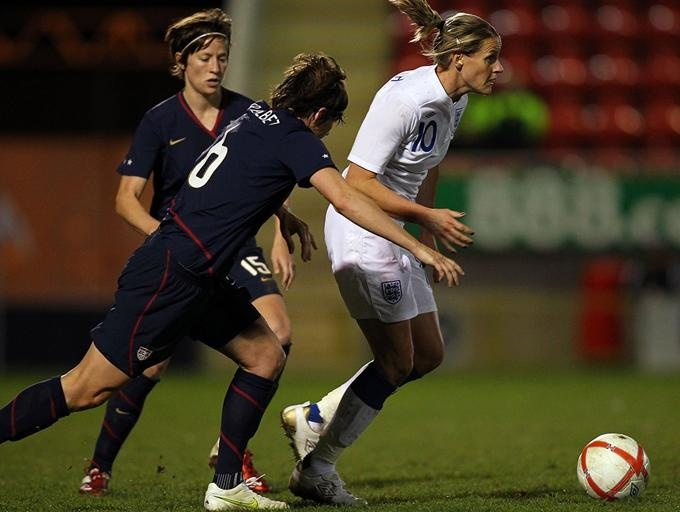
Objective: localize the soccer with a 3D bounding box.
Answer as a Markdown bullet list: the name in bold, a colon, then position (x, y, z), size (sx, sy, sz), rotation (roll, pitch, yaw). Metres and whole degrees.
- **soccer**: position (1.695, 1.295, 5.785), size (0.370, 0.377, 0.370), rotation (15, -10, -25)

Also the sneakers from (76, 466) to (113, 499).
- **sneakers**: position (-1.496, 1.422, 5.914), size (0.117, 0.164, 0.230), rotation (6, -3, -2)

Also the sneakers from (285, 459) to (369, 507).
- **sneakers**: position (-0.100, 1.432, 5.948), size (0.530, 0.239, 0.194), rotation (6, -5, 14)
